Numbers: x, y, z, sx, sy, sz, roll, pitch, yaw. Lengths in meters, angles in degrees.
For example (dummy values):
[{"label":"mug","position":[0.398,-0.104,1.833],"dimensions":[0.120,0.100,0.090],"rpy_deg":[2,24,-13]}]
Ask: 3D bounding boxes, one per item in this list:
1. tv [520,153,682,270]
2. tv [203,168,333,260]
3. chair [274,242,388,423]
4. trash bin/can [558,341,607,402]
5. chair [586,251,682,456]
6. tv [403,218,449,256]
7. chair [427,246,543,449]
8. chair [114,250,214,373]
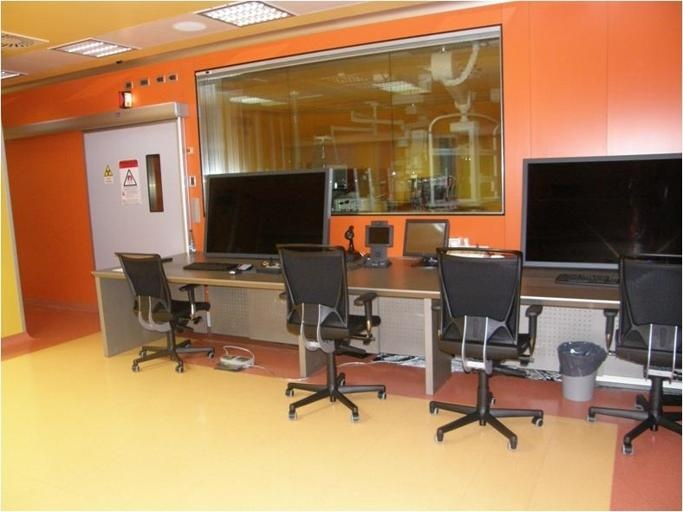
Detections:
[{"label":"tv","position":[2.023,-0.339,4.107],"dimensions":[0.984,0.637,0.029],"rpy_deg":[0,6,31]},{"label":"tv","position":[-0.706,-0.411,5.293],"dimensions":[1.019,0.598,0.098],"rpy_deg":[0,1,23]},{"label":"chair","position":[-0.097,0.558,4.329],"dimensions":[0.934,1.261,0.973],"rpy_deg":[-2,2,-16]},{"label":"trash bin/can","position":[1.856,0.919,4.406],"dimensions":[0.483,0.454,0.394],"rpy_deg":[-1,4,-7]},{"label":"chair","position":[2.113,0.609,3.682],"dimensions":[0.618,1.321,0.479],"rpy_deg":[-6,15,-10]},{"label":"tv","position":[0.794,-0.173,5.170],"dimensions":[0.427,0.336,0.176],"rpy_deg":[3,6,-3]},{"label":"chair","position":[1.021,0.607,3.793],"dimensions":[0.814,1.374,0.523],"rpy_deg":[-1,15,9]},{"label":"chair","position":[-1.713,0.528,5.345],"dimensions":[0.874,1.054,0.871],"rpy_deg":[1,0,-2]}]
